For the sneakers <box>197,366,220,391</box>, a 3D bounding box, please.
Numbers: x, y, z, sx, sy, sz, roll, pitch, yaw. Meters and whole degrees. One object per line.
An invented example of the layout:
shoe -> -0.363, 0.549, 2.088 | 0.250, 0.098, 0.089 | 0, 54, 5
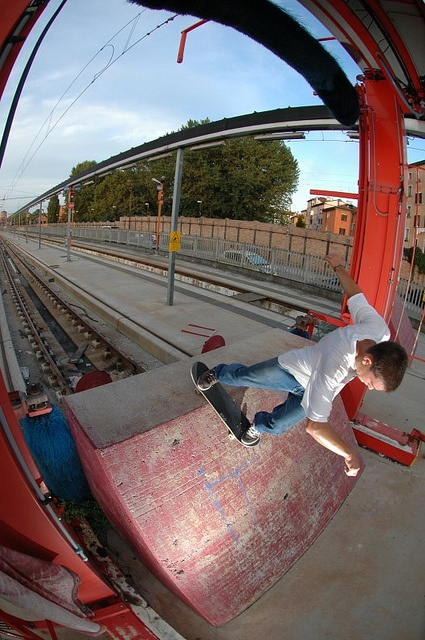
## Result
sneakers -> -0.045, 0.499, 3.151 | 0.103, 0.088, 0.265 | -24, -2, 7

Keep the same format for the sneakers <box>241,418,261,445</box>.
sneakers -> 0.288, 0.865, 2.899 | 0.092, 0.096, 0.224 | 35, 3, 4

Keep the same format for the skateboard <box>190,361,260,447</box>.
skateboard -> 0.030, 0.644, 3.029 | 0.281, 0.138, 0.923 | -14, 51, -30

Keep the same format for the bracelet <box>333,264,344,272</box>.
bracelet -> 1.109, -0.472, 3.368 | 0.081, 0.042, 0.104 | 30, -3, -38
